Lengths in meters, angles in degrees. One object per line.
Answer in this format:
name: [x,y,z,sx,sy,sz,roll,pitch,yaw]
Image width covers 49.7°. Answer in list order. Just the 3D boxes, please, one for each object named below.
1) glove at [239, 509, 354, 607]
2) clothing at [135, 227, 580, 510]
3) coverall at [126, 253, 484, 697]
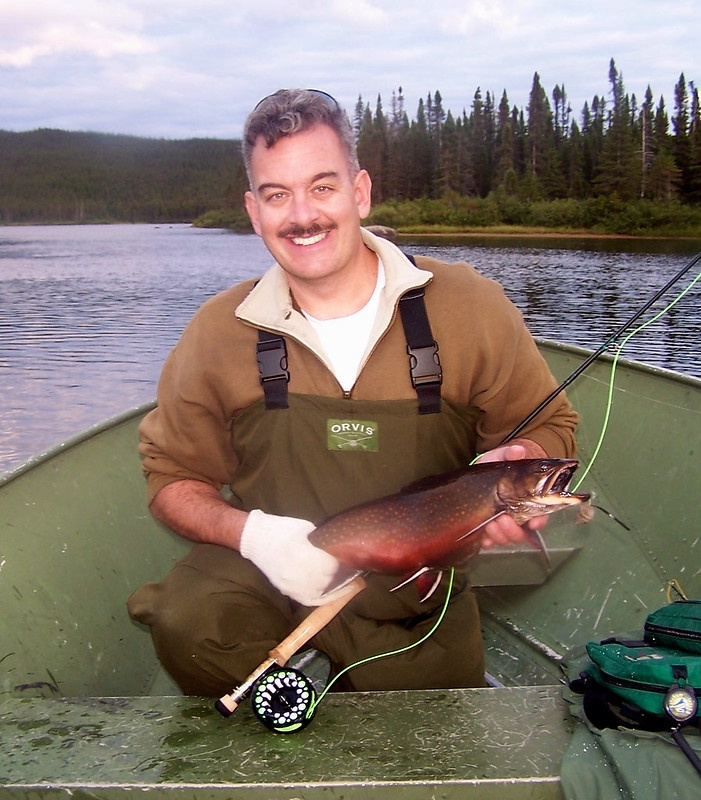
glove: [-0.202,0.499,2.417,0.381,0.239,0.104,31,10,21]
clothing: [0.022,0.035,2.768,1.560,0.882,0.654,-3,14,3]
coverall: [0.007,0.278,2.658,1.446,1.241,0.823,-4,12,-9]
